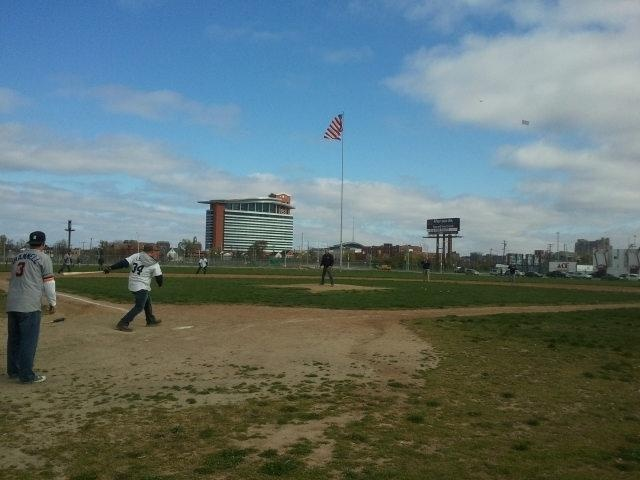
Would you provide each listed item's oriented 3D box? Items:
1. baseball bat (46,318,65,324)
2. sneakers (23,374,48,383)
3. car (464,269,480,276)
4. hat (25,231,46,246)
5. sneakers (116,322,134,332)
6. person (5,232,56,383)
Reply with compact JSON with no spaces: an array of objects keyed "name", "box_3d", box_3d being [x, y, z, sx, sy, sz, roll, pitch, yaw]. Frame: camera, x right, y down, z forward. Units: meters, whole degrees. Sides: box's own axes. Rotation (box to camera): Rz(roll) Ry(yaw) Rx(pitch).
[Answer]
[{"name":"baseball bat","box_3d":[-6.618,2.032,13.641,0.622,0.066,0.167,-3,12,8]},{"name":"sneakers","box_3d":[-4.805,2.319,9.093,0.314,0.104,0.122,-1,5,-13]},{"name":"car","box_3d":[25.385,5.372,90.823,2.072,0.783,3.062,-3,-7,27]},{"name":"hat","box_3d":[-4.480,-0.013,8.555,0.303,0.192,0.380,2,3,-12]},{"name":"sneakers","box_3d":[-4.632,2.069,12.819,0.435,0.152,0.166,3,-1,-12]},{"name":"person","box_3d":[-5.040,1.113,9.450,0.740,2.378,1.146,2,0,-24]}]
